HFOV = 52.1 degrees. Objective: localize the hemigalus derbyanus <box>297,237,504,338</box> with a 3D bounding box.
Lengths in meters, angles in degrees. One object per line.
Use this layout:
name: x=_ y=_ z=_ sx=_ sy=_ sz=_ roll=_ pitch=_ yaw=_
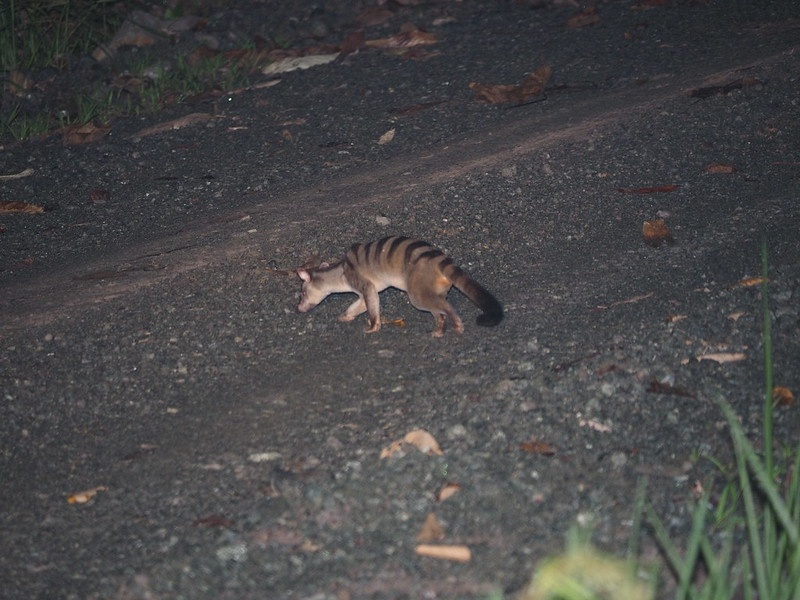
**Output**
hemigalus derbyanus: x=-0.048 y=-0.129 z=7.778 sx=2.224 sy=0.929 sz=0.551 roll=4 pitch=17 yaw=35
